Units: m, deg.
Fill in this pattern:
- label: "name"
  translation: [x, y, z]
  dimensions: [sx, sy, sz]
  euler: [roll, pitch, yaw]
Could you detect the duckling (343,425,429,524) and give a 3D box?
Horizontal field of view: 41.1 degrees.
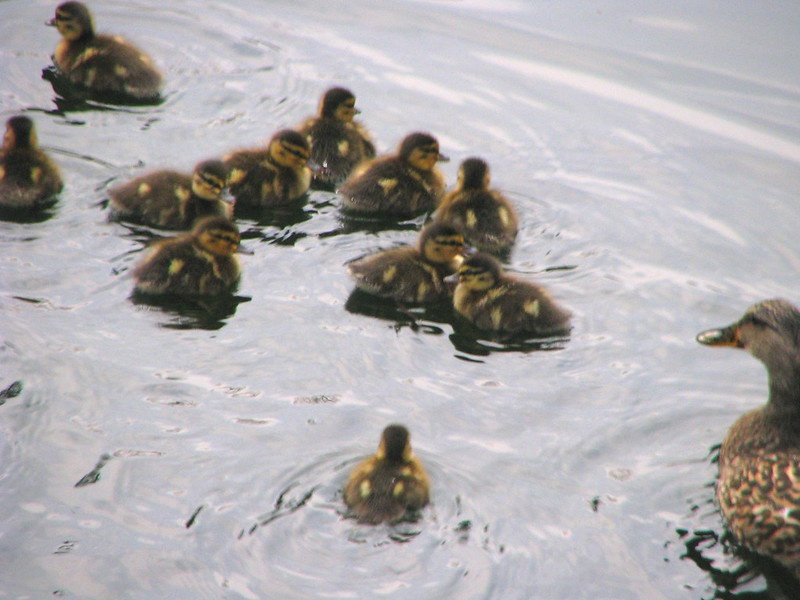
- label: "duckling"
  translation: [-0.071, 1.017, 6.025]
  dimensions: [0.484, 0.384, 0.611]
  euler: [4, 31, 10]
